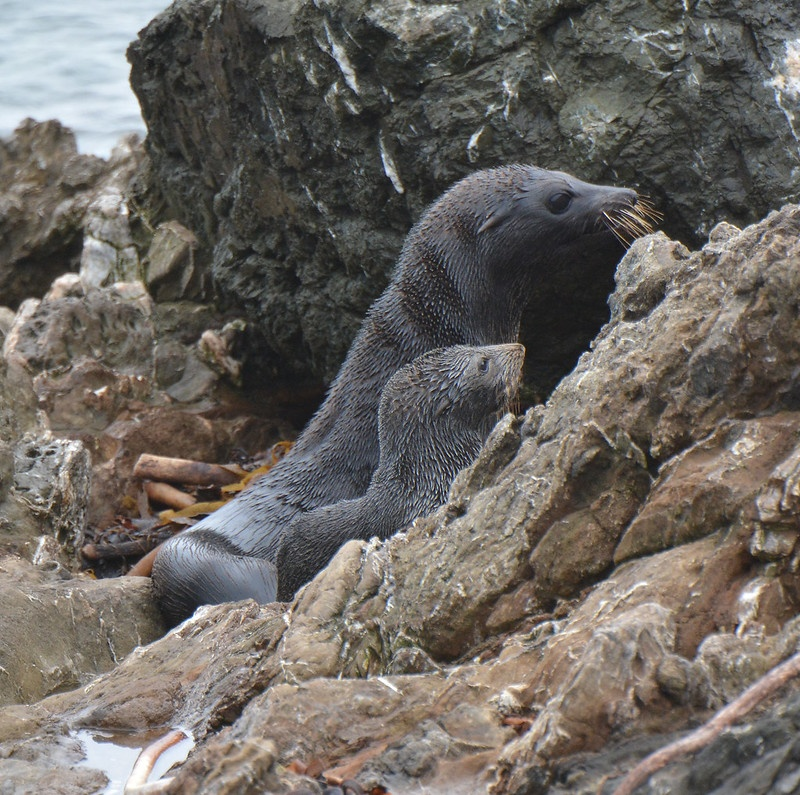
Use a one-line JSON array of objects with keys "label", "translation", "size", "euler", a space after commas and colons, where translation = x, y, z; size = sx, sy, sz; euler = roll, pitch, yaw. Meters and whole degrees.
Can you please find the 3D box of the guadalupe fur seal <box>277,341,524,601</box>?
[{"label": "guadalupe fur seal", "translation": [0.034, 0.434, 11.365], "size": [1.532, 1.310, 0.507], "euler": [-7, 11, -5]}]
